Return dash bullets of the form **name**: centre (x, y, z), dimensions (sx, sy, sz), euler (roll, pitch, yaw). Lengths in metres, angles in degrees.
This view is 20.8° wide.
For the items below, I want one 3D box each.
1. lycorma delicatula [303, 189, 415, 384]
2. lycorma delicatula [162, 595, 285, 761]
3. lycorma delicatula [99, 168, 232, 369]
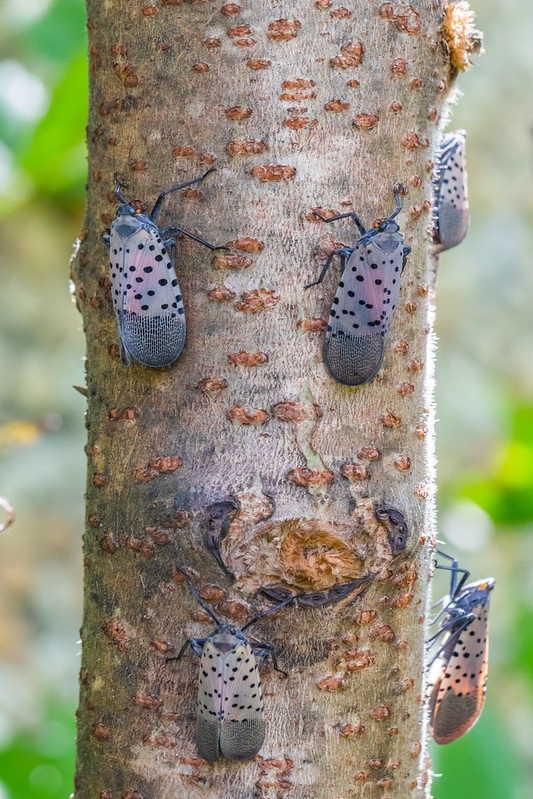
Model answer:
- **lycorma delicatula**: centre (0.187, -0.185, 2.659), dimensions (0.227, 0.086, 0.286), euler (15, 85, -35)
- **lycorma delicatula**: centre (-0.057, 0.509, 2.642), dimensions (0.202, 0.076, 0.249), euler (2, 94, 2)
- **lycorma delicatula**: centre (-0.217, -0.266, 2.652), dimensions (0.281, 0.394, 0.108), euler (-39, 79, 3)
